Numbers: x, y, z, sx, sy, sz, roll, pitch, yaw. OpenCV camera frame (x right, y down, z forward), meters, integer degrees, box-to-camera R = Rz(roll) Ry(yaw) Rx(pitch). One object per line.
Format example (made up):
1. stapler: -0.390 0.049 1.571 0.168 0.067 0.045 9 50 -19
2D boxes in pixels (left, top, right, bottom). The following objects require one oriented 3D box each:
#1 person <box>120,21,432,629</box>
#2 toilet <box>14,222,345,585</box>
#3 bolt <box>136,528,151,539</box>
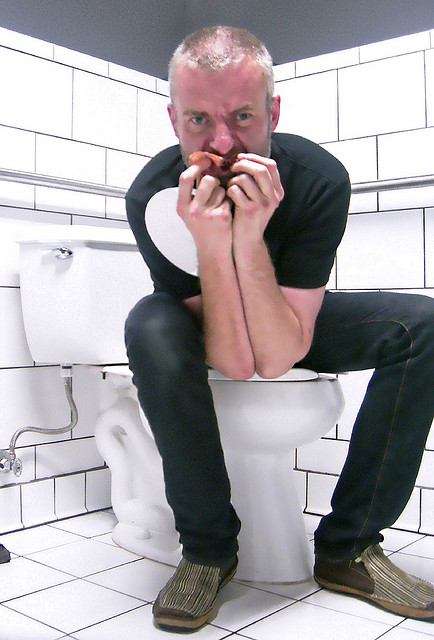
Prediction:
1. person: 0.082 0.031 0.964 0.520 0.879 0.457 3 -6 -33
2. toilet: -0.044 0.188 1.521 0.992 0.771 0.670 1 3 9
3. bolt: -0.162 0.466 1.301 0.027 0.018 0.022 -1 -6 -9
